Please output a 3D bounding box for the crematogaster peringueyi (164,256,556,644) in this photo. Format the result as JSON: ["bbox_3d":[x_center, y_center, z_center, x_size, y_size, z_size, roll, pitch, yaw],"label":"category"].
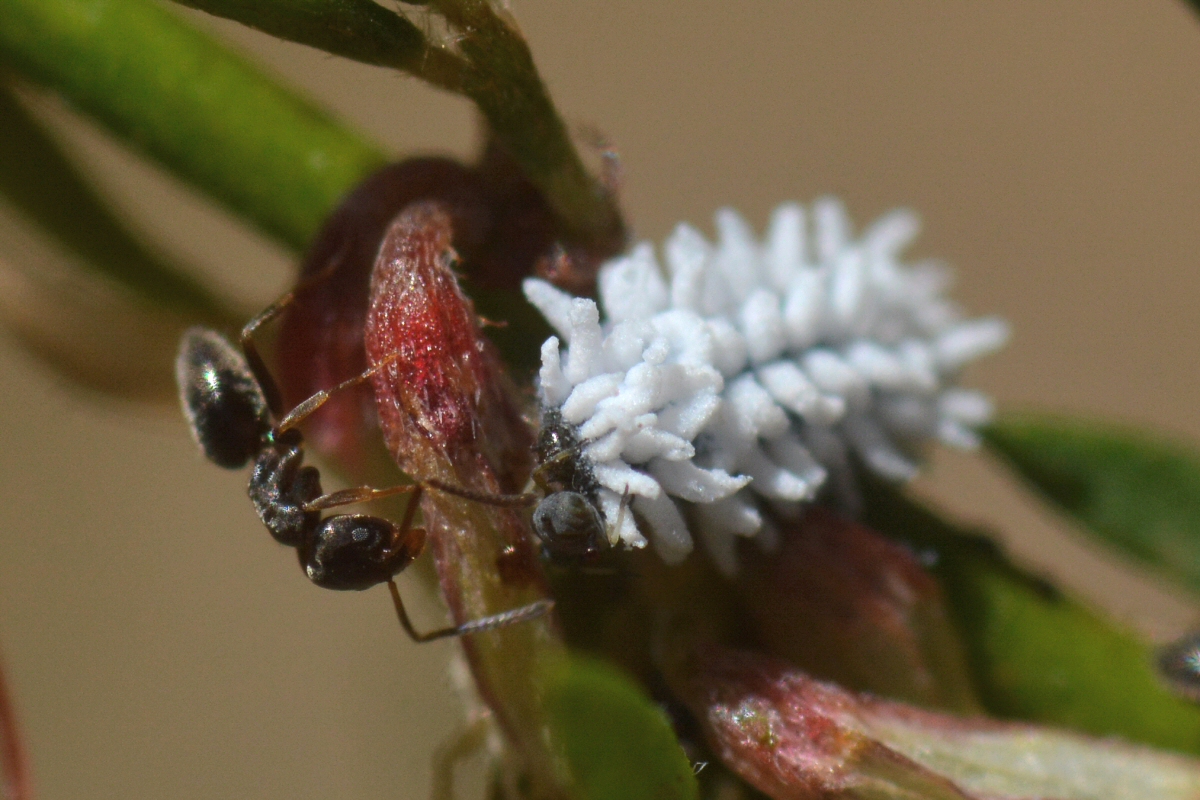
[{"bbox_3d":[-0.196,0.048,1.059,0.397,0.131,0.154,43,80,13],"label":"crematogaster peringueyi"}]

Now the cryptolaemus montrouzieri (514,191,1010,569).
[{"bbox_3d":[0.131,-0.037,1.031,0.357,0.146,0.247,-23,74,-3],"label":"cryptolaemus montrouzieri"}]
